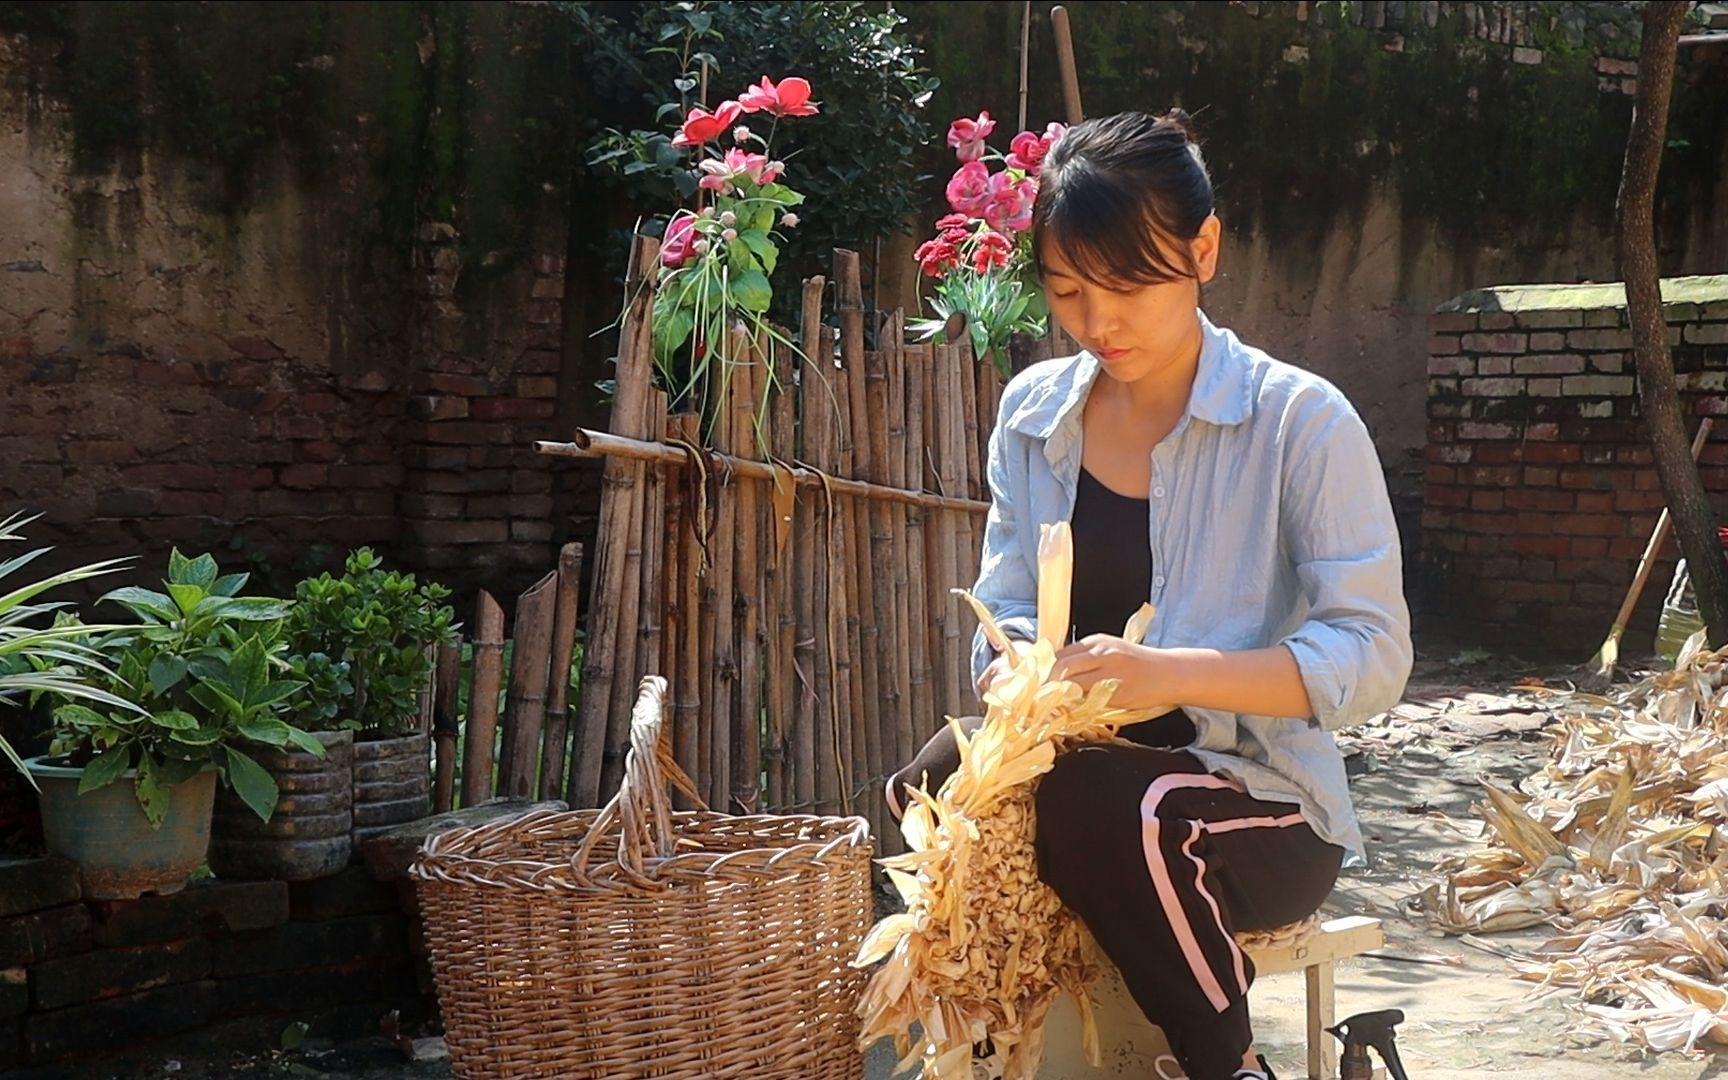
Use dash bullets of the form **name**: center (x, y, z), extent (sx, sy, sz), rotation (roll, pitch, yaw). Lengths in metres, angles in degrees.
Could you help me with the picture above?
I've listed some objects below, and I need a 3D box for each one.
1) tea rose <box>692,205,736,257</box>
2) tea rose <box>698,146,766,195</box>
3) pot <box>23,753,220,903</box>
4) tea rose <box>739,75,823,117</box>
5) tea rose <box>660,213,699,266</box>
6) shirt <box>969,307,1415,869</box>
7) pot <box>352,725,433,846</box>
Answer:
- **tea rose**: center (-0.492, -1.054, 5.565), extent (0.163, 0.156, 0.065), rotation (1, -13, 27)
- **tea rose**: center (-0.456, -1.269, 5.681), extent (0.186, 0.156, 0.205), rotation (-1, 3, -32)
- **pot**: center (-2.167, 0.860, 4.996), extent (0.561, 0.371, 0.586), rotation (-1, -3, 0)
- **tea rose**: center (-0.296, -1.591, 5.935), extent (0.247, 0.171, 0.434), rotation (1, 2, 3)
- **tea rose**: center (-0.619, -1.000, 5.594), extent (0.117, 0.181, 0.173), rotation (0, 3, -3)
- **shirt**: center (0.818, 0.147, 4.439), extent (1.336, 1.450, 1.350), rotation (0, 2, 41)
- **pot**: center (-1.490, 0.772, 5.156), extent (0.118, 0.313, 0.351), rotation (-3, -2, 37)
